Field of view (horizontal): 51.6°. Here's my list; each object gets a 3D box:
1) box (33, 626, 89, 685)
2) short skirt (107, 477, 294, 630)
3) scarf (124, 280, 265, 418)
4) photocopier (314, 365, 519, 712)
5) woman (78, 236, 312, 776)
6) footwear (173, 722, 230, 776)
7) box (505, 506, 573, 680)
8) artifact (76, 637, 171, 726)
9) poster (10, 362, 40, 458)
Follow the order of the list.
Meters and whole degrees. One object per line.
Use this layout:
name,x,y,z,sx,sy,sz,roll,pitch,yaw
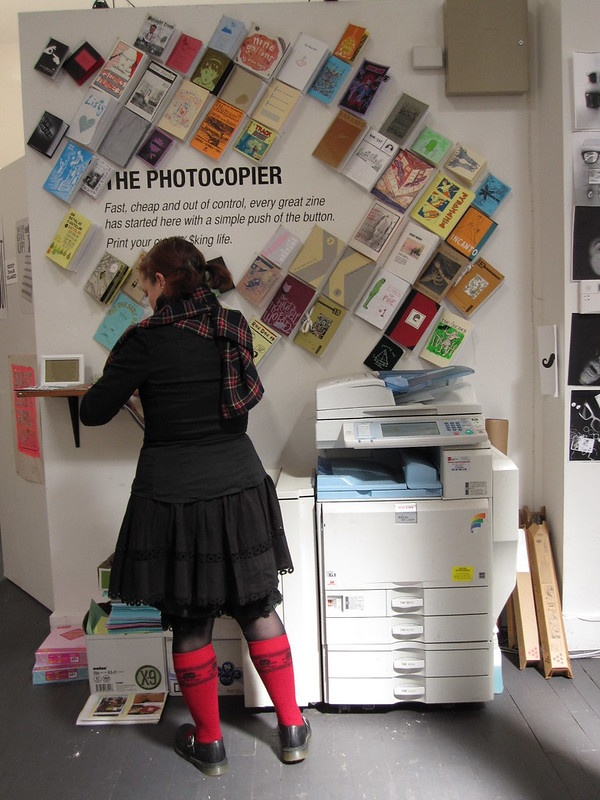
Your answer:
box,-0.904,0.962,2.378,0.166,0.064,0.215,0,5,-7
short skirt,-0.237,0.364,1.794,0.607,0.536,0.362,-1,-5,-10
scarf,-0.212,-0.132,1.541,0.362,0.328,0.171,5,14,-7
photocopier,0.413,0.463,2.252,0.809,1.088,0.690,-2,-1,25
woman,-0.270,0.293,1.811,0.581,1.418,0.527,-3,7,-16
footwear,-0.297,1.019,1.873,0.078,0.079,0.193,1,12,-33
box,0.865,0.718,2.376,0.178,0.563,0.230,-2,-18,9
artifact,-0.608,0.958,2.161,0.302,0.277,0.251,-1,-5,3
poster,-1.211,0.031,2.746,0.021,0.442,0.432,-4,7,-28
